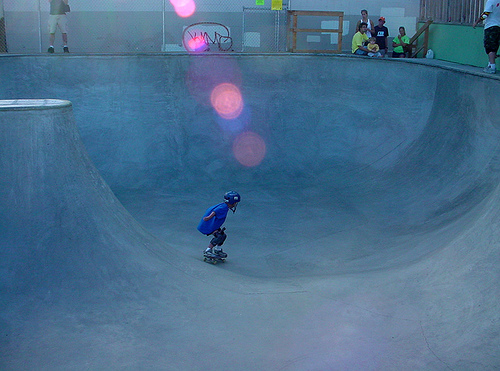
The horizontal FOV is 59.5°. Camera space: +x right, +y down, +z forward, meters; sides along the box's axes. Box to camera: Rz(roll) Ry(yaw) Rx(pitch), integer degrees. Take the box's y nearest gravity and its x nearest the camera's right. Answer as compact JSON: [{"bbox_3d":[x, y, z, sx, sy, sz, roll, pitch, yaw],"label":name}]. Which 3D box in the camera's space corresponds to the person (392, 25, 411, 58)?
[{"bbox_3d":[5.700,-5.378,16.502,0.757,1.071,0.449,-7,16,-29],"label":"person"}]

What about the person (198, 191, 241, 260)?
[{"bbox_3d":[-0.562,0.824,8.427,0.728,1.255,0.868,-1,22,-29],"label":"person"}]

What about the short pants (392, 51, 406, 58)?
[{"bbox_3d":[5.594,-4.878,16.351,0.457,0.228,0.633,5,15,15],"label":"short pants"}]

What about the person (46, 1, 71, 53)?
[{"bbox_3d":[-6.284,-5.220,14.376,0.777,1.728,1.582,-5,16,-22],"label":"person"}]

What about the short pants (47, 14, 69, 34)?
[{"bbox_3d":[-6.235,-5.254,14.308,0.881,0.647,0.501,9,17,29],"label":"short pants"}]

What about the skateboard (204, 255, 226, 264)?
[{"bbox_3d":[-0.624,1.320,7.919,0.211,0.067,0.170,4,1,27],"label":"skateboard"}]

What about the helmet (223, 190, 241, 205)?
[{"bbox_3d":[-0.289,0.210,7.747,0.251,0.221,0.194,-14,23,-36],"label":"helmet"}]
